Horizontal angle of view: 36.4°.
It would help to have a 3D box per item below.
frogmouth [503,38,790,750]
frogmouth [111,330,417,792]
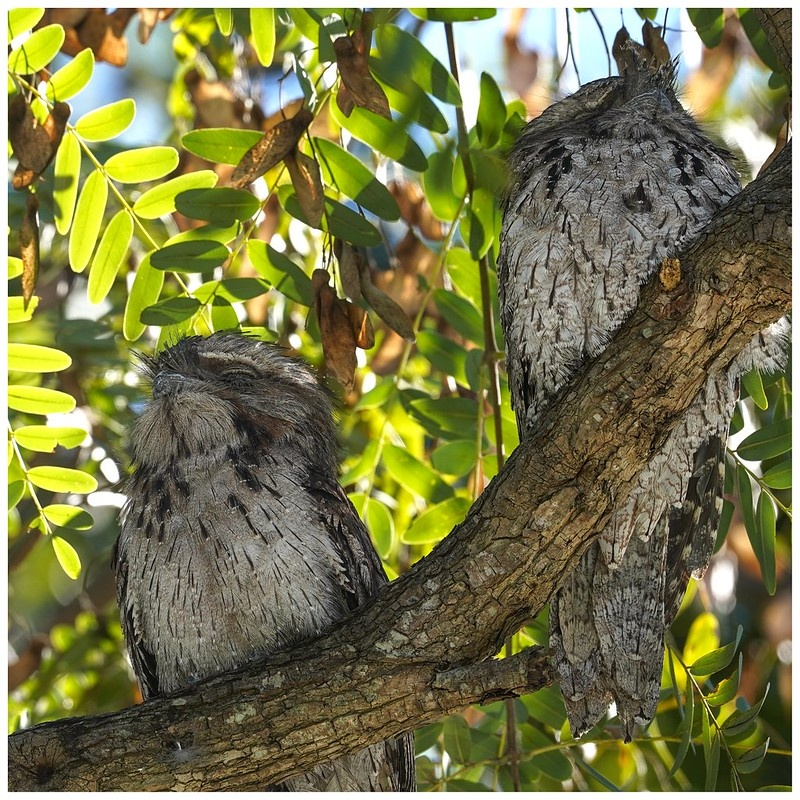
[{"bbox_3d":[0.641,-0.066,3.784,0.718,2.320,0.927,-1,-1,5],"label":"frogmouth"},{"bbox_3d":[-0.483,0.273,3.687,0.801,1.065,0.437,-7,-18,-14],"label":"frogmouth"}]
